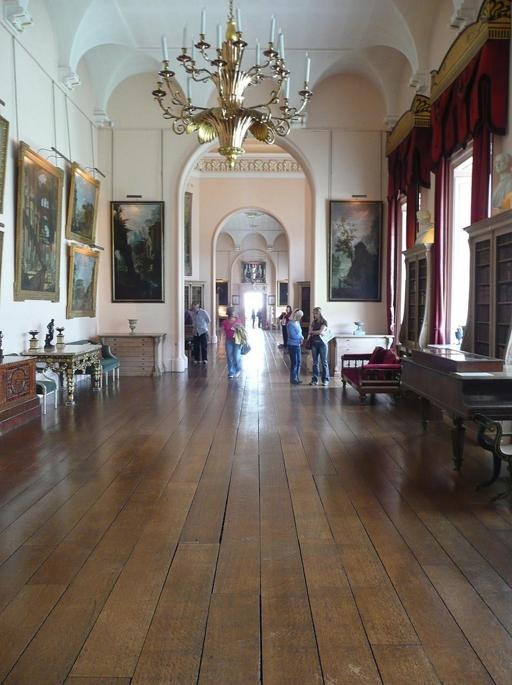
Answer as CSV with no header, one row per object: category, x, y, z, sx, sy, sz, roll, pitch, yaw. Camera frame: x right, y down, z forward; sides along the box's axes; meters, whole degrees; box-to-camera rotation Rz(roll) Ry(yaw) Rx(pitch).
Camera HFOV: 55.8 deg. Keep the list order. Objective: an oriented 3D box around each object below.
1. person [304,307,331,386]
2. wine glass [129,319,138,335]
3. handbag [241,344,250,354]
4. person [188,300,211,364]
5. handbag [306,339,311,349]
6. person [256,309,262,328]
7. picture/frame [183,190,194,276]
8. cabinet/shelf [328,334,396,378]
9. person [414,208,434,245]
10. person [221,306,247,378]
person,1.359,0.053,10.534,0.479,1.647,1.227,1,2,7
wine glass,-3.028,-0.397,11.923,0.297,0.411,0.326,0,-3,-4
handbag,-0.245,0.127,11.258,0.239,0.286,0.135,3,-5,-44
person,-1.610,-0.255,13.913,0.450,1.672,1.545,0,2,-8
handbag,1.159,0.022,10.611,0.136,0.187,0.153,0,-4,6
person,0.232,-1.828,35.917,0.283,1.289,0.694,-1,2,-30
picture/frame,-2.767,-4.474,19.835,0.131,3.422,0.514,2,2,30
cabinet/shelf,2.382,0.098,11.728,1.443,1.229,0.898,0,-1,-1
person,2.915,-1.970,8.332,0.270,0.728,0.908,1,2,18
person,-0.523,-0.031,11.402,0.545,1.627,1.505,0,2,-4
